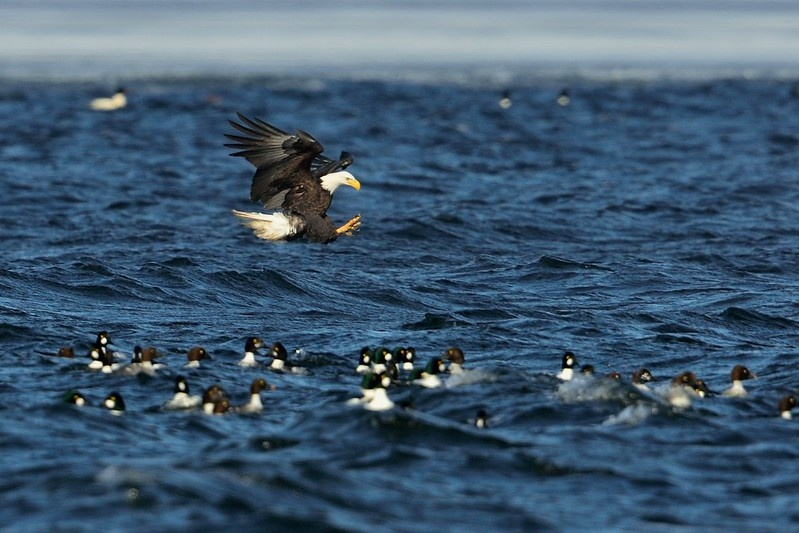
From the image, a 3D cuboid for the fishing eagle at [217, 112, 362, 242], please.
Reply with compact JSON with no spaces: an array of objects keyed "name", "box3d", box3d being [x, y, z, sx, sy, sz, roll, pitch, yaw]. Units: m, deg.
[{"name":"fishing eagle","box3d":[-3.116,-2.322,30.390,2.990,3.810,1.107,-7,32,-19]}]
